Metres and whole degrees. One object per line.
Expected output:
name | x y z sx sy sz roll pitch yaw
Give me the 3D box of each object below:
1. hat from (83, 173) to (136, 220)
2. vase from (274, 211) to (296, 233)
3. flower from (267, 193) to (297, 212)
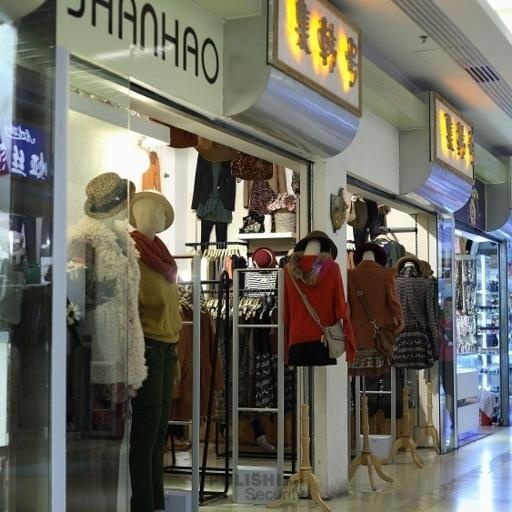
hat | -0.568 -0.223 2.242 0.219 0.090 0.266 -21 9 -1
vase | 0.300 -0.327 6.007 0.172 0.174 0.196 -2 -6 18
flower | 0.274 -0.539 6.014 0.318 0.183 0.111 -4 -10 25
